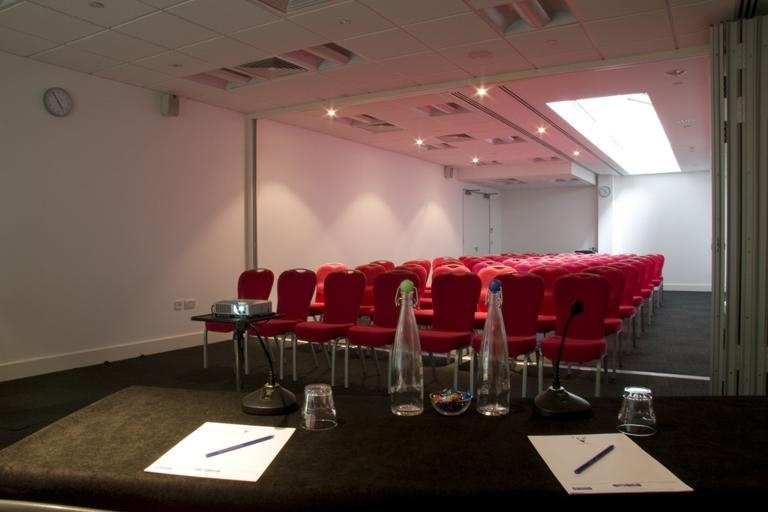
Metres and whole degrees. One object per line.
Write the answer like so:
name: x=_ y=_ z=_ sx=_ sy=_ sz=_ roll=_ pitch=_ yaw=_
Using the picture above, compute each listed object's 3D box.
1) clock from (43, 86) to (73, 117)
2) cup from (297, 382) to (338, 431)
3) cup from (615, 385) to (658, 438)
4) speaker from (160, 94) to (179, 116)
clock: x=-4.002 y=-1.895 z=6.050 sx=0.053 sy=0.370 sz=0.343 roll=5 pitch=8 yaw=33
cup: x=-0.238 y=0.556 z=1.867 sx=0.152 sy=0.142 sz=0.154 roll=0 pitch=-4 yaw=0
cup: x=0.907 y=0.554 z=1.804 sx=0.158 sy=0.166 sz=0.159 roll=1 pitch=-3 yaw=0
speaker: x=-3.095 y=-2.174 z=7.064 sx=0.105 sy=0.287 sz=0.327 roll=3 pitch=4 yaw=19
